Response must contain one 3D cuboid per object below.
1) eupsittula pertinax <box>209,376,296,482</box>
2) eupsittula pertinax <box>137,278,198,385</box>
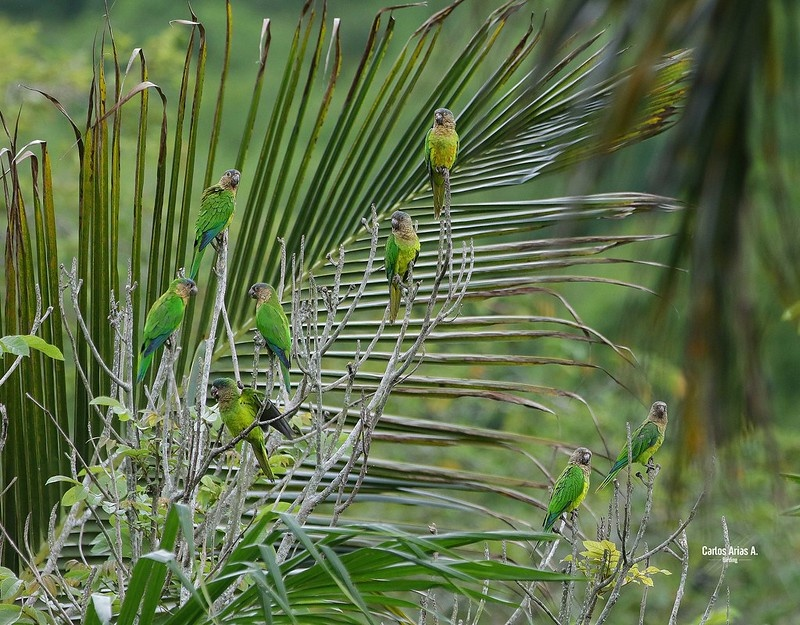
[{"bbox_3d":[-0.494,0.374,3.695,0.349,0.326,0.182,29,64,-14],"label":"eupsittula pertinax"},{"bbox_3d":[-0.785,0.069,3.801,0.212,0.414,0.111,1,40,-22],"label":"eupsittula pertinax"}]
